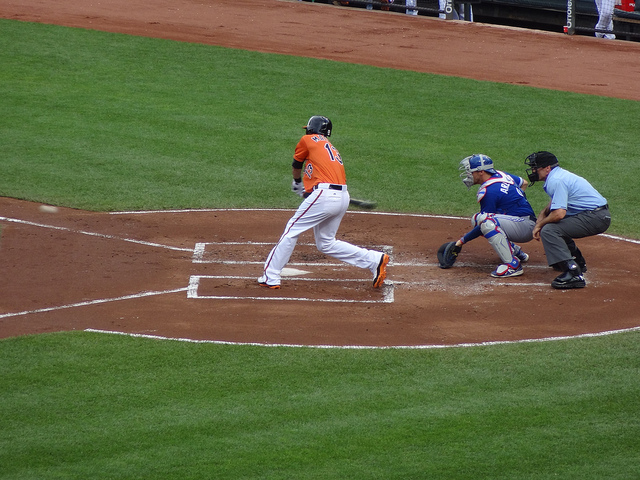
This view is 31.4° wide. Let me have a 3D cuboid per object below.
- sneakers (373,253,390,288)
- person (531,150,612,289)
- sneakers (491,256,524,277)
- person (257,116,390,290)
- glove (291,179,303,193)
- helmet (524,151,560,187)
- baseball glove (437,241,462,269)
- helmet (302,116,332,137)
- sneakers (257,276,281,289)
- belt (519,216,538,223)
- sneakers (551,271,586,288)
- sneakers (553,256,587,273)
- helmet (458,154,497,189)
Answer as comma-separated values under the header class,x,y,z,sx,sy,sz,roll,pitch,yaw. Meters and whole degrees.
class,x,y,z,sx,sy,sz,roll,pitch,yaw
sneakers,0.863,0.393,15.555,0.271,0.449,0.177,13,23,6
person,3.317,-0.258,15.564,1.203,1.804,0.574,8,13,10
sneakers,2.637,0.373,15.928,0.494,0.199,0.209,-9,32,-7
person,0.073,-0.487,15.600,1.574,2.324,0.797,5,13,-4
glove,-0.295,-0.763,15.755,0.238,0.189,0.106,-3,38,-7
helmet,3.032,-1.024,15.854,0.608,0.486,0.456,-4,13,4
baseball glove,1.815,0.201,16.095,0.455,0.361,0.303,-4,13,-6
helmet,-0.022,-1.583,15.835,0.389,0.300,0.291,15,17,15
sneakers,-0.704,0.567,15.582,0.364,0.120,0.161,19,44,16
belt,2.952,-0.310,16.064,0.132,0.112,0.129,26,-8,-41
sneakers,3.391,0.537,15.584,0.447,0.237,0.205,4,10,5
sneakers,3.423,0.323,15.630,0.157,0.197,0.069,-18,-20,-8
helmet,2.210,-1.018,16.163,0.608,0.431,0.430,1,17,10
